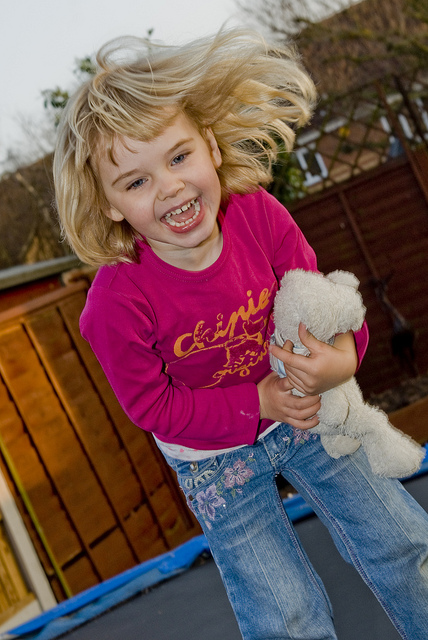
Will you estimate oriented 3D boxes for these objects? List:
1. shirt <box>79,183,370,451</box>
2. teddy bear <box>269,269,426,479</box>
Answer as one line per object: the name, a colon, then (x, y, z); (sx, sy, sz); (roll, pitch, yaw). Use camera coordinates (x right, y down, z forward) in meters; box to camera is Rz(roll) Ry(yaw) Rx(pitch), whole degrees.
shirt: (0.007, -0.022, 1.672); (0.839, 0.712, 0.447); (-26, 50, -21)
teddy bear: (0.307, 0.139, 1.455); (0.283, 0.561, 0.345); (-21, 20, 3)
